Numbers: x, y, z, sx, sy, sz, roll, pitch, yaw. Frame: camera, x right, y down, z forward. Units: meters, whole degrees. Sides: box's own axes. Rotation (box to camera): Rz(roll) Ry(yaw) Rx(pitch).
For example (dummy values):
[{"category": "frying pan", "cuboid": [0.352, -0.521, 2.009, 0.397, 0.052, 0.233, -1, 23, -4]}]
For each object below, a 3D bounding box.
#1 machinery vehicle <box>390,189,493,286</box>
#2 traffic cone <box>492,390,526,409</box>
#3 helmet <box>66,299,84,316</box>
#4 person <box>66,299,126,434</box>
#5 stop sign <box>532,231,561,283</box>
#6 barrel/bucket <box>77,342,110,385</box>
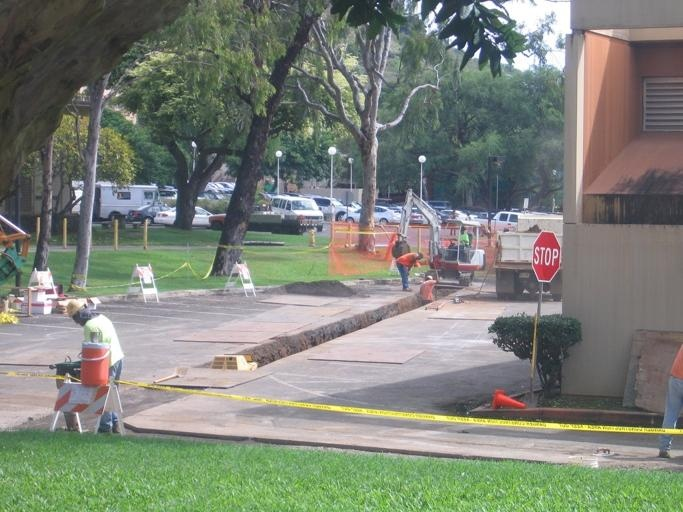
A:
[{"category": "machinery vehicle", "cuboid": [3.965, -0.739, 58.659, 4.999, 5.131, 2.596, 0, -2, -26]}, {"category": "traffic cone", "cuboid": [3.083, 2.664, 27.799, 0.509, 0.339, 0.308, 9, 13, 30]}, {"category": "helmet", "cuboid": [-4.748, 0.914, 26.707, 0.250, 0.242, 0.304, 8, -7, -26]}, {"category": "person", "cuboid": [-4.293, 2.015, 26.507, 0.833, 2.381, 1.023, 2, 7, -3]}, {"category": "stop sign", "cuboid": [3.937, 0.010, 29.013, 0.492, 1.009, 1.031, 1, -2, 7]}, {"category": "barrel/bucket", "cuboid": [-4.234, 1.861, 25.868, 0.600, 0.727, 0.587, 1, -3, 0]}]
